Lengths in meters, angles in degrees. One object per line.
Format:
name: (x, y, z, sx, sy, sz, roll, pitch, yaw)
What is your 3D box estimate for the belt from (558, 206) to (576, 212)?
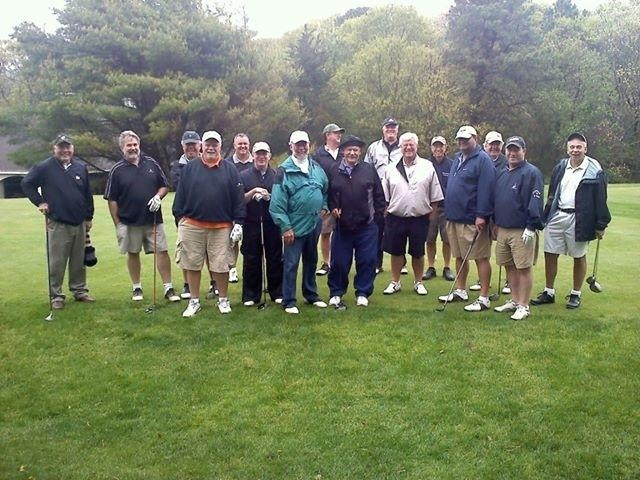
belt: (3.551, -0.436, 7.696, 0.214, 0.071, 0.058, 0, 1, 34)

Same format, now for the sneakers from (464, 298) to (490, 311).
sneakers: (2.302, 0.943, 7.844, 0.416, 0.201, 0.167, -2, 4, -18)

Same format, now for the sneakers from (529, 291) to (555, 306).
sneakers: (3.359, 0.874, 8.009, 0.429, 0.209, 0.162, 0, -3, -13)

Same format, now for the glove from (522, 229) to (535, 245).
glove: (2.813, -0.047, 7.228, 0.177, 0.200, 0.146, -2, 4, -20)

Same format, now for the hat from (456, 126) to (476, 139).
hat: (2.184, -1.603, 7.958, 0.231, 0.205, 0.352, 2, 2, 30)

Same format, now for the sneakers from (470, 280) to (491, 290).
sneakers: (2.613, 0.749, 8.907, 0.117, 0.165, 0.362, -3, -4, 33)

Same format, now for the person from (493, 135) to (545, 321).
person: (2.746, -0.189, 7.487, 0.695, 2.546, 0.493, 0, 1, 38)

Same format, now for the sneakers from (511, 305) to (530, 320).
sneakers: (2.760, 0.993, 7.364, 0.124, 0.156, 0.359, -5, 0, 36)

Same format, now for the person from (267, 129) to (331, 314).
person: (-0.309, -0.282, 7.903, 0.928, 2.661, 0.473, -1, 1, -36)

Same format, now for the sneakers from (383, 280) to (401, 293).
sneakers: (1.180, 0.771, 8.734, 0.123, 0.164, 0.380, -2, -1, 33)

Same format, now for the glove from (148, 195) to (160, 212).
glove: (-2.514, -0.564, 8.052, 0.174, 0.264, 0.310, -1, 1, -16)

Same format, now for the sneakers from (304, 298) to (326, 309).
sneakers: (-0.071, 0.950, 8.085, 0.313, 0.130, 0.120, 0, 4, 36)

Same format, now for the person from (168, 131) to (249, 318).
person: (-1.603, -0.229, 7.644, 1.001, 2.594, 0.382, -1, 1, -17)

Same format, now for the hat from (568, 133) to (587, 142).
hat: (3.688, -1.466, 7.606, 0.305, 0.132, 0.183, -1, 1, -13)

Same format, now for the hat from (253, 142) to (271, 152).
hat: (-0.908, -1.416, 8.179, 0.203, 0.164, 0.308, 0, 4, -3)

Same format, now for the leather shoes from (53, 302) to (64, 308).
leather shoes: (-3.780, 0.929, 7.696, 0.160, 0.103, 0.187, -1, 1, -33)

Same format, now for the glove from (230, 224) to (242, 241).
glove: (-1.192, -0.115, 7.528, 0.073, 0.228, 0.171, 8, -30, -26)

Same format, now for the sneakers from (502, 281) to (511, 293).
sneakers: (3.013, 0.760, 8.642, 0.147, 0.194, 0.465, -2, 2, 21)

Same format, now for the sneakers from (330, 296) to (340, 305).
sneakers: (0.210, 0.914, 7.980, 0.152, 0.144, 0.205, -1, 1, 0)

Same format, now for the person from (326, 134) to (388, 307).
person: (0.534, -0.282, 8.092, 0.864, 2.527, 0.526, -1, 1, 2)

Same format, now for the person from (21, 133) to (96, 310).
person: (-3.838, -0.282, 7.867, 0.883, 2.505, 0.551, -1, 1, -27)

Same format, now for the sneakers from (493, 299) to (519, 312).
sneakers: (2.704, 0.941, 7.770, 0.324, 0.159, 0.135, -1, 5, -3)

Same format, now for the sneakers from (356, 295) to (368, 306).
sneakers: (0.634, 0.910, 8.025, 0.192, 0.139, 0.257, -1, 1, 3)

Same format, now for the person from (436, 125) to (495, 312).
person: (2.185, -0.337, 7.974, 0.688, 2.728, 0.837, -1, 1, -29)

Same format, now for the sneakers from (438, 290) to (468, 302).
sneakers: (2.062, 0.853, 8.138, 0.476, 0.233, 0.182, 1, -2, 1)
